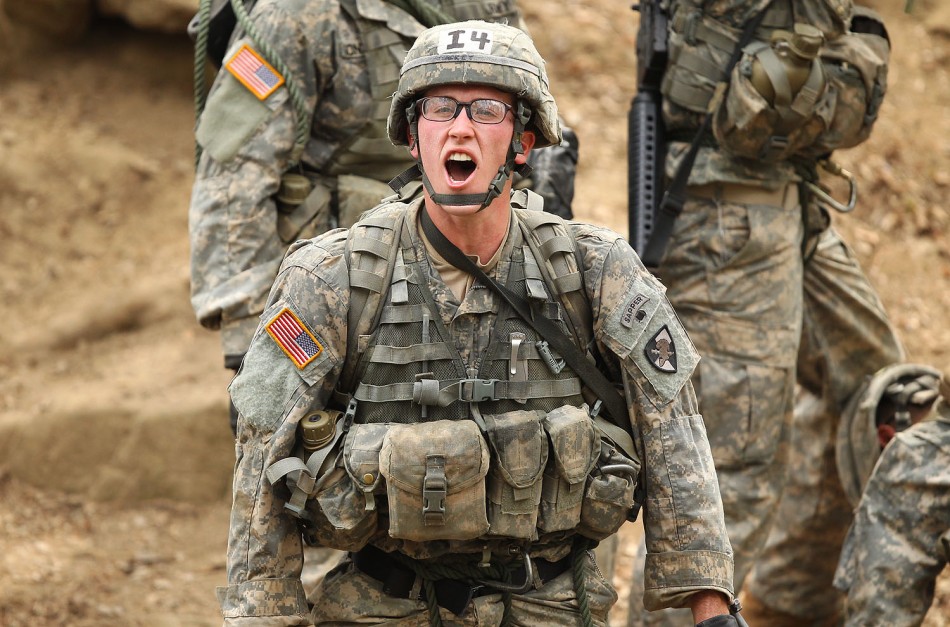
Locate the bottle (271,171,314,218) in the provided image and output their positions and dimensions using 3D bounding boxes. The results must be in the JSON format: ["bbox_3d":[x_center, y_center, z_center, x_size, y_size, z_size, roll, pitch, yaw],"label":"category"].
[{"bbox_3d":[-1.086,-0.682,12.267,0.234,0.209,0.198,14,27,-23],"label":"bottle"}]

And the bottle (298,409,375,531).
[{"bbox_3d":[-0.694,0.838,10.919,0.434,0.568,0.282,4,15,3],"label":"bottle"}]
